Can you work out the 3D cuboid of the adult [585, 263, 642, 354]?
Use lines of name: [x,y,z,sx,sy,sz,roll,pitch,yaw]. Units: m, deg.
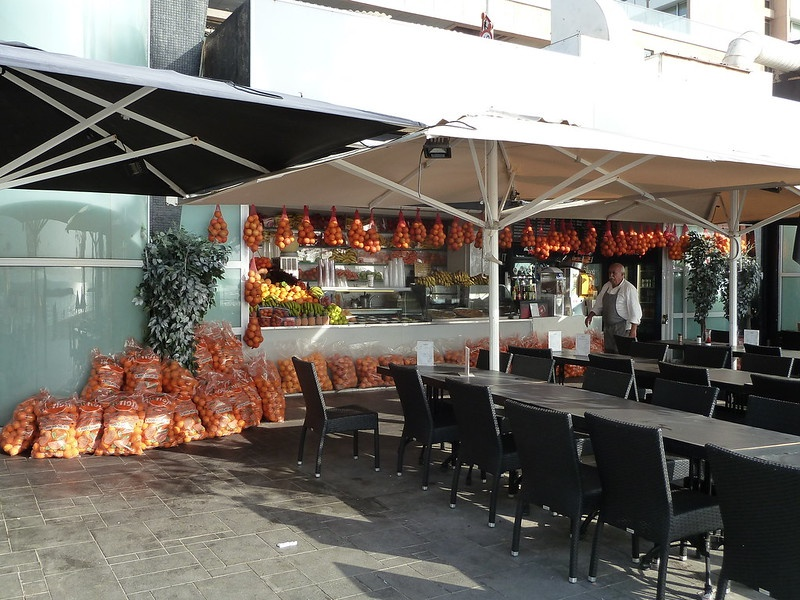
adult: [3.482,0.035,9.561,0.393,0.729,0.869,-11,17,-31]
